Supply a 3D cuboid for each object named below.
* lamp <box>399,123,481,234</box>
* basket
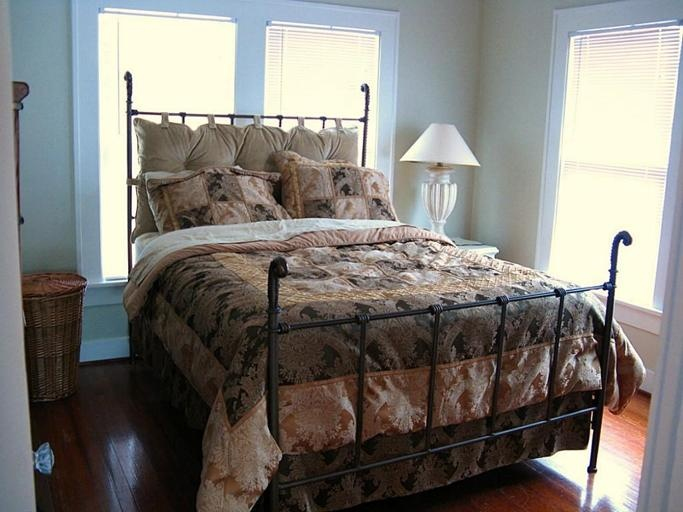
[{"bbox_3d":[0.662,-0.491,3.727,0.505,0.741,0.546,3,4,25],"label":"lamp"},{"bbox_3d":[-1.455,0.406,2.720,0.353,0.525,0.353,1,5,-16],"label":"basket"}]
